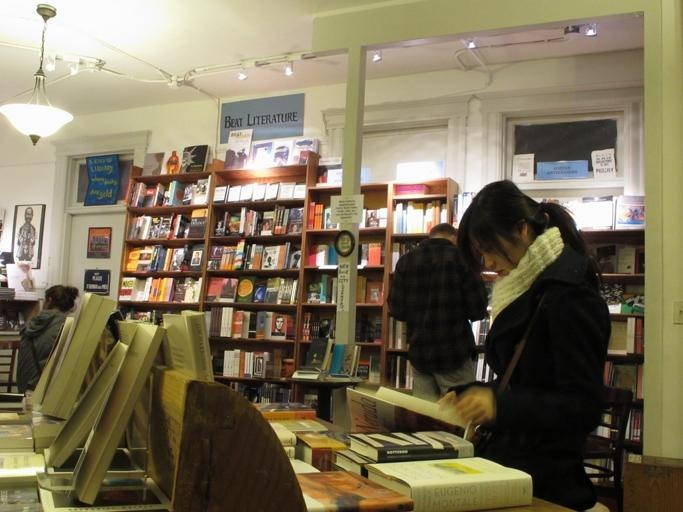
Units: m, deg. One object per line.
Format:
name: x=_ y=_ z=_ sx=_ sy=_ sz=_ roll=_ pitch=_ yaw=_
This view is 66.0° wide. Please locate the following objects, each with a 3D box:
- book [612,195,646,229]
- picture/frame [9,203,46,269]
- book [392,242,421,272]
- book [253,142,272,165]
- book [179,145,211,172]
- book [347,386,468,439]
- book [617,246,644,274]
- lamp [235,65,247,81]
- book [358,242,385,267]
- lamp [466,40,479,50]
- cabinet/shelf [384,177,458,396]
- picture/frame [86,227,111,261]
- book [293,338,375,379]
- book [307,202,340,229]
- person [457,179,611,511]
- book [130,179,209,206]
book: x=2.819 y=-0.422 z=5.187 sx=0.375 sy=0.335 sz=0.192 roll=0 pitch=-9 yaw=15
picture/frame: x=-5.070 y=-0.320 z=8.607 sx=0.677 sy=1.079 sz=0.180 roll=-1 pitch=-4 yaw=28
book: x=0.597 y=0.010 z=4.834 sx=0.360 sy=0.318 sz=0.194 roll=1 pitch=-2 yaw=-21
book: x=-1.017 y=-1.345 z=6.930 sx=0.354 sy=0.335 sz=0.035 roll=1 pitch=-4 yaw=31
book: x=-2.010 y=-1.357 z=7.370 sx=0.448 sy=0.401 sz=0.080 roll=0 pitch=-10 yaw=26
book: x=0.154 y=0.414 z=1.448 sx=0.242 sy=0.081 sz=0.187 roll=8 pitch=-9 yaw=-39
book: x=2.893 y=0.046 z=5.284 sx=0.267 sy=0.291 sz=0.041 roll=-4 pitch=-17 yaw=32
lamp: x=-1.227 y=-2.305 z=6.609 sx=0.155 sy=0.143 sz=0.269 roll=0 pitch=-2 yaw=-9
book: x=0.358 y=0.027 z=6.288 sx=0.359 sy=0.339 sz=0.267 roll=-4 pitch=-11 yaw=36
lamp: x=1.428 y=-2.317 z=5.739 sx=0.083 sy=0.077 sz=0.084 roll=13 pitch=-16 yaw=3
cabinet/shelf: x=0.867 y=0.169 z=5.907 sx=0.740 sy=2.097 sz=0.268 roll=1 pitch=-9 yaw=-1
picture/frame: x=-3.763 y=-0.176 z=8.277 sx=0.557 sy=0.603 sz=0.025 roll=-1 pitch=-9 yaw=16
book: x=-0.073 y=0.773 z=4.290 sx=0.368 sy=0.180 sz=0.423 roll=-5 pitch=-6 yaw=39
book: x=-0.248 y=-0.484 z=6.318 sx=0.323 sy=0.392 sz=0.417 roll=1 pitch=-9 yaw=7
person: x=0.545 y=0.242 z=1.536 sx=0.421 sy=0.961 sz=0.460 roll=0 pitch=-4 yaw=16
book: x=-2.412 y=-0.879 z=7.592 sx=1.251 sy=0.371 sz=0.428 roll=3 pitch=3 yaw=14
